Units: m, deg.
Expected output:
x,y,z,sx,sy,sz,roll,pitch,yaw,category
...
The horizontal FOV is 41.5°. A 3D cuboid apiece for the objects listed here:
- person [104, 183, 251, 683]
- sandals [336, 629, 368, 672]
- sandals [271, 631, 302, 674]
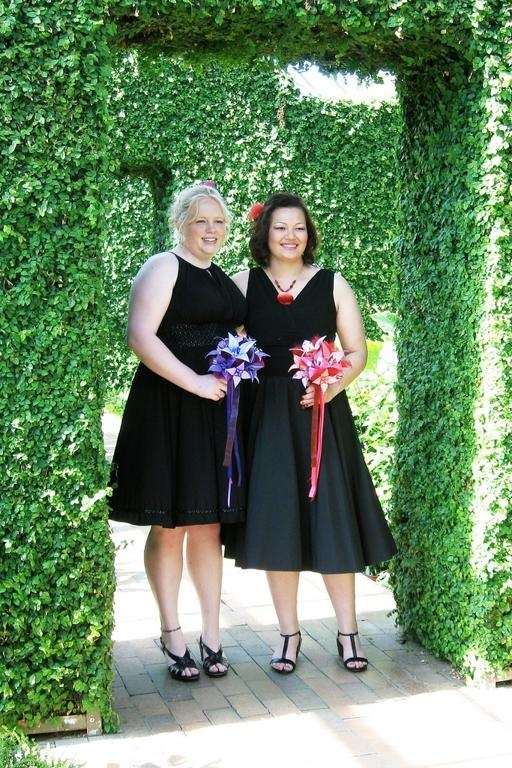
x,y,z,sx,sy,sz,roll,pitch,yaw,category
-0.292,0.173,2.585,0.525,1.949,0.468,0,-2,-11,person
0.392,1.087,2.770,0.067,0.077,0.190,-3,1,-6,sandals
0.120,1.088,2.703,0.068,0.081,0.199,-1,-3,9,sandals
